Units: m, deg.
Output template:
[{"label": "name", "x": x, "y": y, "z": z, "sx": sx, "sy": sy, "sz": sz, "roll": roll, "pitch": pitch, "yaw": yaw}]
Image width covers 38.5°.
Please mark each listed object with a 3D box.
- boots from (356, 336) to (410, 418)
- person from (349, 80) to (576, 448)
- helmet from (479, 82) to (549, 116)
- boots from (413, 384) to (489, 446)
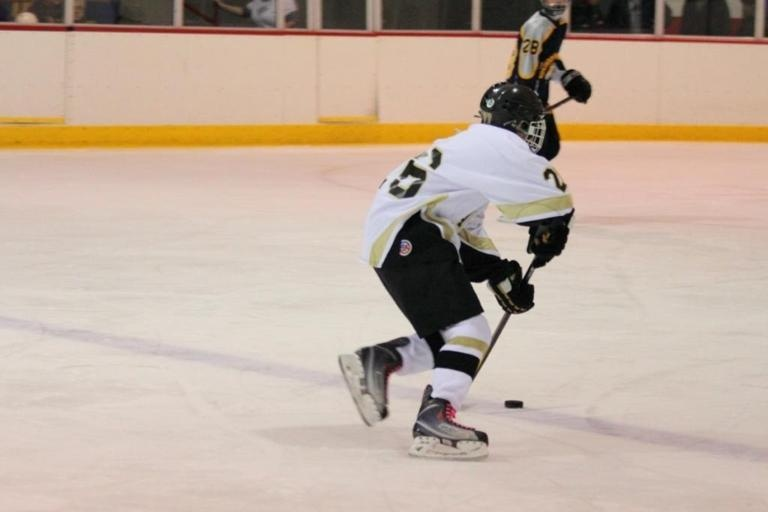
[{"label": "boots", "x": 0.015, "y": 0.453, "z": 4.136, "sx": 0.179, "sy": 0.299, "sz": 0.121, "roll": -11, "pitch": -6, "yaw": 6}, {"label": "person", "x": 0.284, "y": 0.026, "z": 4.089, "sx": 0.804, "sy": 1.358, "sz": 0.590, "roll": 4, "pitch": 10, "yaw": -8}, {"label": "helmet", "x": 0.502, "y": -0.600, "z": 4.190, "sx": 0.209, "sy": 0.123, "sz": 0.139, "roll": -8, "pitch": 29, "yaw": -15}, {"label": "boots", "x": 0.257, "y": 0.580, "z": 3.968, "sx": 0.266, "sy": 0.181, "sz": 0.139, "roll": 7, "pitch": 9, "yaw": 19}]
